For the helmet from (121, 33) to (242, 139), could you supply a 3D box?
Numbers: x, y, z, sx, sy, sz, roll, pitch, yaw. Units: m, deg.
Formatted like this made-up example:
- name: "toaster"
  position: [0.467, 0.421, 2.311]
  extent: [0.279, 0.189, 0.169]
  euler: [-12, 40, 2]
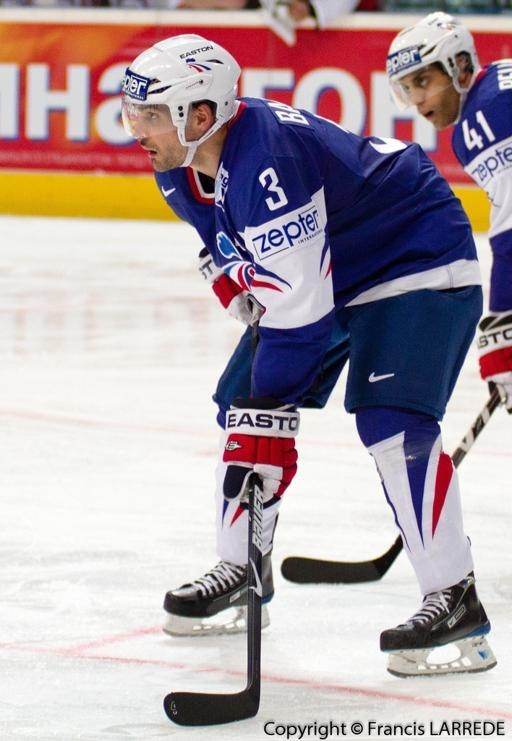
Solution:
- name: "helmet"
  position: [-0.111, -0.472, 1.573]
  extent: [0.214, 0.167, 0.160]
  euler: [-8, 11, -17]
